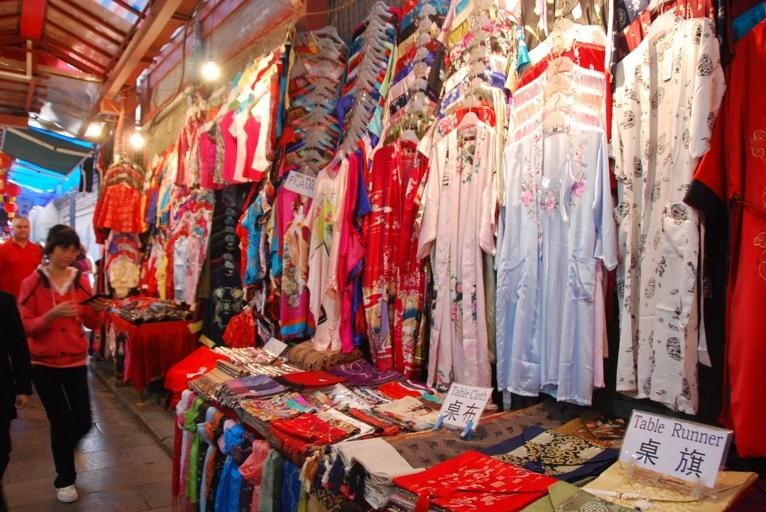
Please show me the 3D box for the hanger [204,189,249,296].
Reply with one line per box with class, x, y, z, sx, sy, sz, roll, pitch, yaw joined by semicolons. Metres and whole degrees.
hanger;-1.395;-0.136;4.908;0.375;0.979;0.268;3;-9;-2
